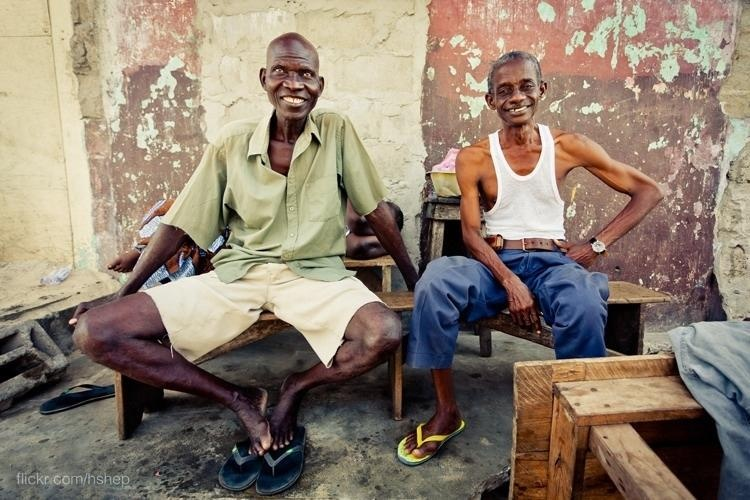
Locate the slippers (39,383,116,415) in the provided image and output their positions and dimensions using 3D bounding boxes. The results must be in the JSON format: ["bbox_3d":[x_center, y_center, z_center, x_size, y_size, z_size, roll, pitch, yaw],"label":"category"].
[{"bbox_3d":[-2.380,1.180,4.866,0.586,0.112,0.204,-5,8,-31],"label":"slippers"}]

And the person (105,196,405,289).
[{"bbox_3d":[-0.818,-0.148,5.966,2.352,0.860,1.547,-7,-11,23],"label":"person"}]

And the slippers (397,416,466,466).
[{"bbox_3d":[0.414,1.368,4.440,0.490,0.092,0.214,-13,15,-29],"label":"slippers"}]

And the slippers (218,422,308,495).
[{"bbox_3d":[-0.768,1.490,4.273,0.617,0.303,0.343,-4,12,-17],"label":"slippers"}]
